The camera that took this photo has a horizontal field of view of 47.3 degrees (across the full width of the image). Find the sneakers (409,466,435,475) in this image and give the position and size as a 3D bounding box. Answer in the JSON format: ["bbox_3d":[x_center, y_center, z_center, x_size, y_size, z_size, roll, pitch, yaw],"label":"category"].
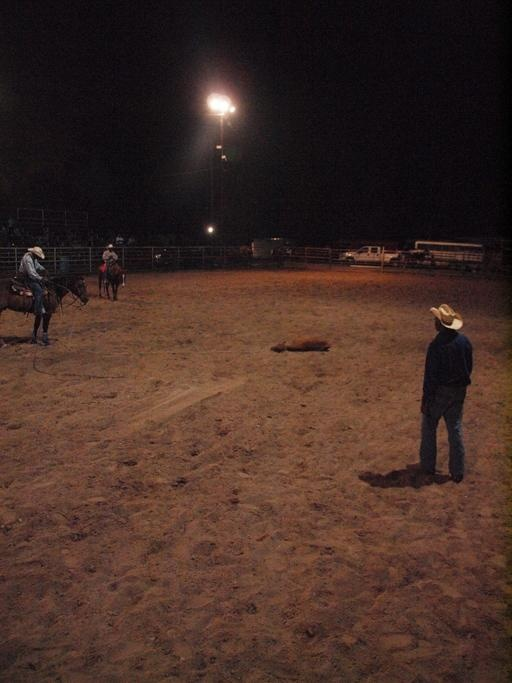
[{"bbox_3d":[1.505,1.169,5.267,0.132,0.070,0.053,12,11,26],"label":"sneakers"}]

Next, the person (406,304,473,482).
[{"bbox_3d":[1.613,0.461,4.984,0.399,1.591,0.380,5,13,23],"label":"person"}]

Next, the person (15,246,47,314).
[{"bbox_3d":[-3.875,-1.064,10.200,0.385,1.168,0.854,-5,14,-23],"label":"person"}]

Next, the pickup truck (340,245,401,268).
[{"bbox_3d":[7.209,-5.384,37.097,3.427,1.421,2.060,6,12,20],"label":"pickup truck"}]
